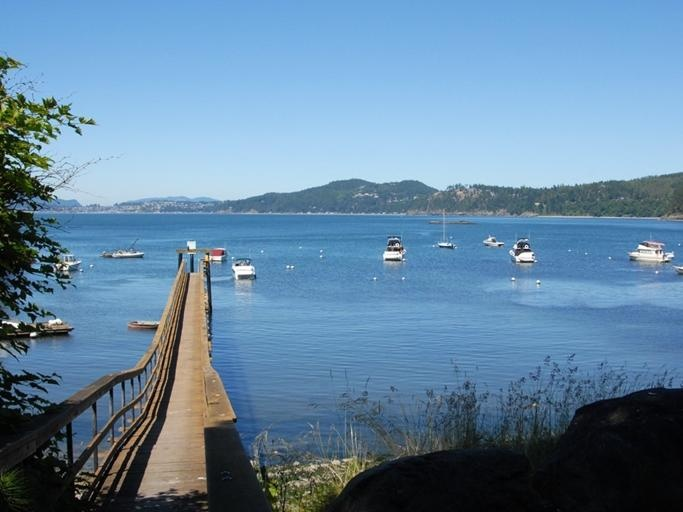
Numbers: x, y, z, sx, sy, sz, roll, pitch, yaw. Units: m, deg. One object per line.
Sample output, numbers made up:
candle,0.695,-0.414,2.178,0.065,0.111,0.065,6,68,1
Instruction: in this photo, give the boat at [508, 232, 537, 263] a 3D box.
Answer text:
boat,18.075,-0.757,71.094,2.829,2.953,7.026,-1,0,6

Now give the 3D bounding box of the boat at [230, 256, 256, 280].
boat,-7.614,0.924,56.421,1.770,1.697,5.379,-1,-2,-6

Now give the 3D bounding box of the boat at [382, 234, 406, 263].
boat,5.242,-0.507,74.687,1.932,1.902,6.021,-1,0,4
